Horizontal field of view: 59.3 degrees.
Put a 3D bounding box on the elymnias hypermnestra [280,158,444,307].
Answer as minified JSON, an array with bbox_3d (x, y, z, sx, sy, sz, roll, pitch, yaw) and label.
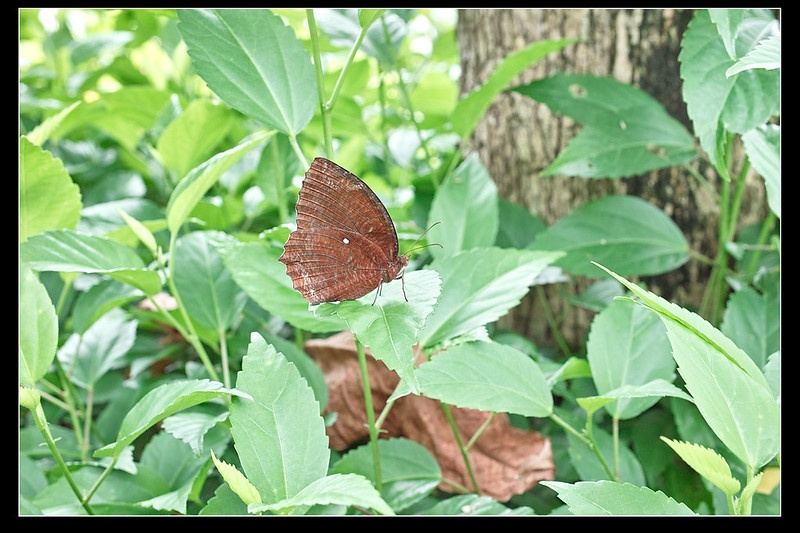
[{"bbox_3d":[-0.075,-0.055,1.702,0.387,0.301,0.389,-4,-16,2],"label":"elymnias hypermnestra"}]
